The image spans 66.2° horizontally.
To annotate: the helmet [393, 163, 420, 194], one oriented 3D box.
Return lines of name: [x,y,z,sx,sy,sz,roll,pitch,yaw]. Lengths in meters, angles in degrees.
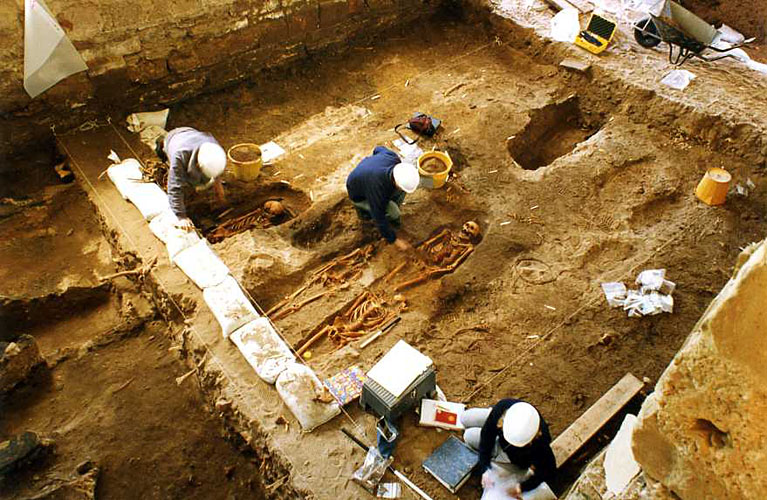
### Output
helmet: [0.301,-1.002,8.002,0.365,0.153,0.368,16,77,1]

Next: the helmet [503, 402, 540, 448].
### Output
helmet: [1.510,1.920,6.458,0.359,0.149,0.452,28,78,3]

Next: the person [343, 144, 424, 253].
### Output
person: [0.078,-0.819,8.296,0.933,0.827,1.241,-42,83,-10]

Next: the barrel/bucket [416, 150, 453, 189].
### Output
barrel/bucket: [0.751,-1.220,8.702,0.603,0.263,0.405,-31,57,-19]

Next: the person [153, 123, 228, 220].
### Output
person: [-2.954,-1.345,8.931,0.991,1.065,2.445,-8,27,-27]

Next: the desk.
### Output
desk: [0.192,1.701,7.156,0.646,0.438,0.839,20,41,38]
